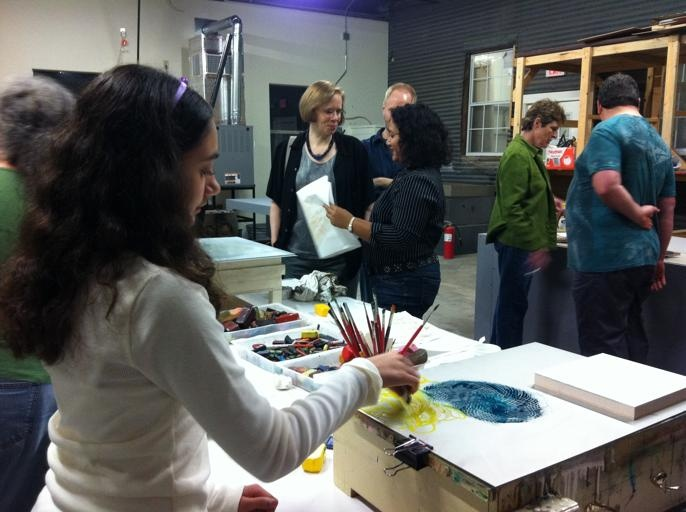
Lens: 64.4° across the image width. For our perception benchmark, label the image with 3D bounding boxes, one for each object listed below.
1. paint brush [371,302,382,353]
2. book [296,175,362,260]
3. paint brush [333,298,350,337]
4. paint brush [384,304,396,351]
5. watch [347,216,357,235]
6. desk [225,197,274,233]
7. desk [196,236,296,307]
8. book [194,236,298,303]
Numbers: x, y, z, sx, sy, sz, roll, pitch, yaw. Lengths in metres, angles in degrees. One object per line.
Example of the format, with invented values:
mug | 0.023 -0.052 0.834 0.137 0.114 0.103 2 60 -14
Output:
paint brush | 0.089 0.188 1.500 0.020 0.153 0.020 -3 5 -38
book | -0.099 -0.181 2.675 0.300 0.400 0.123 -18 15 3
paint brush | -0.004 0.169 1.517 0.019 0.119 0.030 -18 5 42
paint brush | 0.146 0.228 1.725 0.017 0.160 0.024 8 10 10
watch | 0.035 -0.147 2.558 0.040 0.066 0.064 10 20 11
desk | -1.080 -0.471 6.162 0.360 0.264 0.600 -11 19 -34
desk | -0.450 0.043 2.394 0.295 0.179 0.369 -4 14 -25
book | -0.425 0.040 2.411 0.295 0.180 0.370 -5 15 -30
